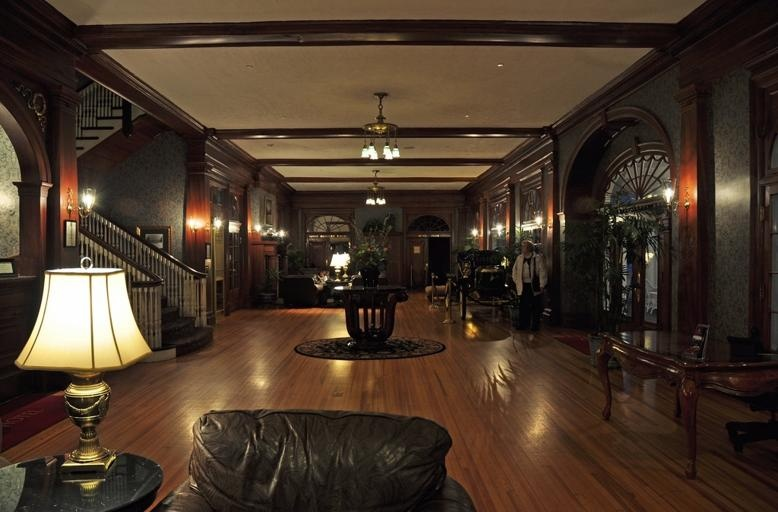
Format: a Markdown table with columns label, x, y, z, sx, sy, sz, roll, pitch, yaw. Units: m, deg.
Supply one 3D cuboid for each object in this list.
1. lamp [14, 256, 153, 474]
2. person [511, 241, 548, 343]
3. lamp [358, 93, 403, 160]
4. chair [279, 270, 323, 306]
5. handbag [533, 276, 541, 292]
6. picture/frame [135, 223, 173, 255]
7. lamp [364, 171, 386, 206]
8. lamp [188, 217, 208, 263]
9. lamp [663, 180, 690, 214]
| label | x | y | z | sx | sy | sz | roll | pitch | yaw |
| --- | --- | --- | --- | --- | --- | --- | --- | --- | --- |
| lamp | -2.027 | 0.780 | 3.322 | 0.726 | 1.274 | 0.791 | -1 | -2 | 15 |
| person | 2.854 | 0.632 | 10.280 | 0.668 | 1.870 | 0.673 | 9 | 13 | 38 |
| lamp | -0.183 | -2.425 | 9.260 | 0.606 | 1.114 | 0.671 | 2 | 14 | -1 |
| chair | -2.535 | 1.016 | 14.559 | 0.759 | 0.726 | 1.406 | -1 | 0 | -2 |
| handbag | 2.953 | 0.582 | 10.052 | 0.221 | 0.222 | 0.172 | 7 | 0 | 4 |
| picture/frame | -4.793 | -0.312 | 10.282 | 0.620 | 0.745 | 0.053 | 1 | 3 | 3 |
| lamp | -0.433 | -2.317 | 16.763 | 0.660 | 1.014 | 0.700 | 4 | 10 | 20 |
| lamp | -4.013 | -0.337 | 10.632 | 0.356 | 0.933 | 0.291 | -6 | 12 | -31 |
| lamp | 4.044 | -0.814 | 7.114 | 0.209 | 0.489 | 0.363 | 3 | -6 | -23 |
